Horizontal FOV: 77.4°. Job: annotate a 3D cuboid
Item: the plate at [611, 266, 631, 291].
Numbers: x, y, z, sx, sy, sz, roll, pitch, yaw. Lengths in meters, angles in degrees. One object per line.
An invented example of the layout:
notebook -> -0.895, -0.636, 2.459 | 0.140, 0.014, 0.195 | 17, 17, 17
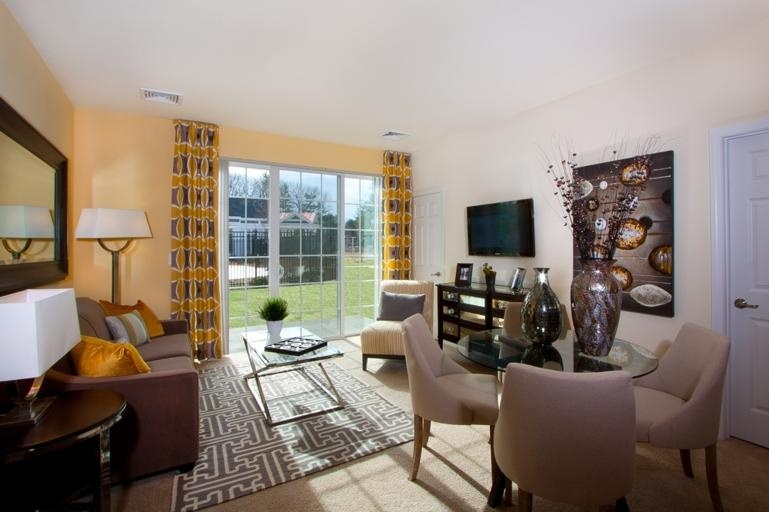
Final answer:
plate -> 2.157, 0.212, 4.386 | 0.102, 0.212, 0.212 | -9, -12, 0

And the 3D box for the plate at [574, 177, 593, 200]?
plate -> 2.082, -0.707, 5.030 | 0.043, 0.241, 0.188 | -2, 3, -42

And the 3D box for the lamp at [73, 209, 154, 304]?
lamp -> -3.010, -0.009, 5.359 | 0.705, 1.073, 0.658 | -1, 3, -31

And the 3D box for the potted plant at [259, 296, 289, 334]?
potted plant -> -1.252, 0.691, 5.588 | 0.391, 0.418, 0.366 | 1, 0, -21

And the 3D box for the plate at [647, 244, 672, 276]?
plate -> 2.596, 0.029, 4.592 | 0.124, 0.234, 0.236 | -5, -5, 31

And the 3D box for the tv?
tv -> 1.381, -0.332, 5.871 | 0.107, 0.661, 0.999 | -2, 3, -35

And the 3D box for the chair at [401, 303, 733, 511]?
chair -> 1.630, 1.102, 4.255 | 1.725, 0.917, 1.719 | 0, -3, 0

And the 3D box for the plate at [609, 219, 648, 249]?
plate -> 2.409, -0.215, 4.698 | 0.036, 0.311, 0.266 | -2, 4, -45

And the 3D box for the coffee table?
coffee table -> -0.939, 1.156, 4.976 | 0.733, 0.595, 1.283 | -2, 4, -29

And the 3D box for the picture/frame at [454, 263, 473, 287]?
picture/frame -> 1.021, 0.255, 6.213 | 0.040, 0.366, 0.296 | 10, -6, -43
